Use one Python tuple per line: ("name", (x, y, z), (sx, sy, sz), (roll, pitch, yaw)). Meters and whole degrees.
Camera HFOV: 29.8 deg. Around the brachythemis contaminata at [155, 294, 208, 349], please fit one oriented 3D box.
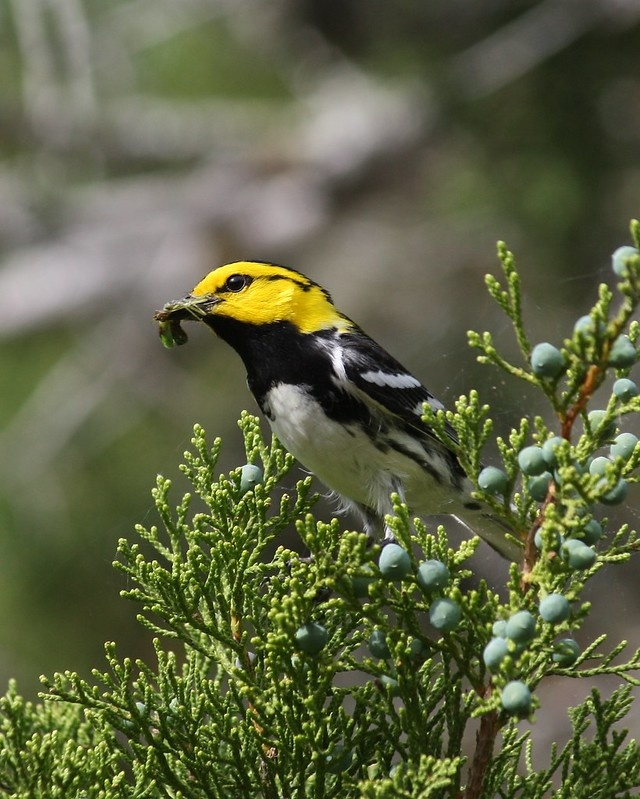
("brachythemis contaminata", (-0.403, -0.221, 3.463), (0.178, 0.134, 0.148), (-9, 10, -22))
